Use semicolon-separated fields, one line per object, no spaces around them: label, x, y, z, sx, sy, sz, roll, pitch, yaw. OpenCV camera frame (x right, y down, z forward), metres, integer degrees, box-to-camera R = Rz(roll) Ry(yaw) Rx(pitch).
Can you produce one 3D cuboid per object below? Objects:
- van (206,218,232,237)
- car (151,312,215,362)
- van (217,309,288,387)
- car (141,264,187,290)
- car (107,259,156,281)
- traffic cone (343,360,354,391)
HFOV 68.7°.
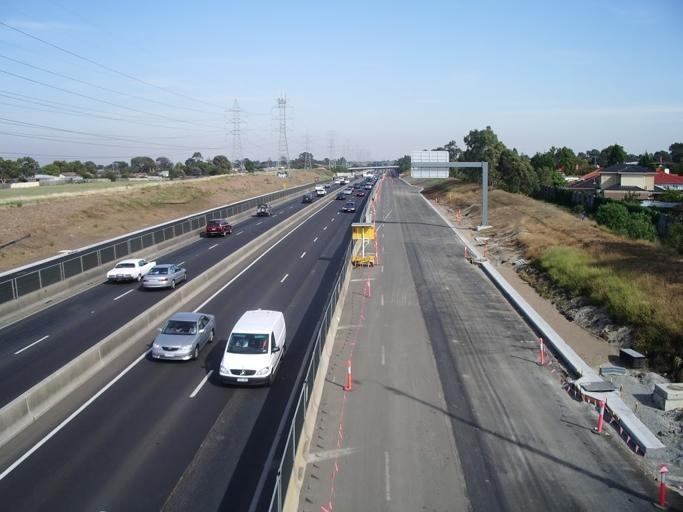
van;-13.689;-3.262;56.458;1.366;1.343;2.785;3;15;12
car;-7.810;3.981;24.440;2.085;1.731;2.596;5;14;15
van;-4.159;4.177;23.699;2.526;2.259;5.203;0;12;-1
car;-12.357;1.466;35.129;1.509;1.491;2.803;6;14;19
car;-15.678;1.100;38.241;1.618;1.141;3.605;0;3;2
traffic cone;0.335;5.749;23.833;0.600;1.491;0.655;10;27;21
